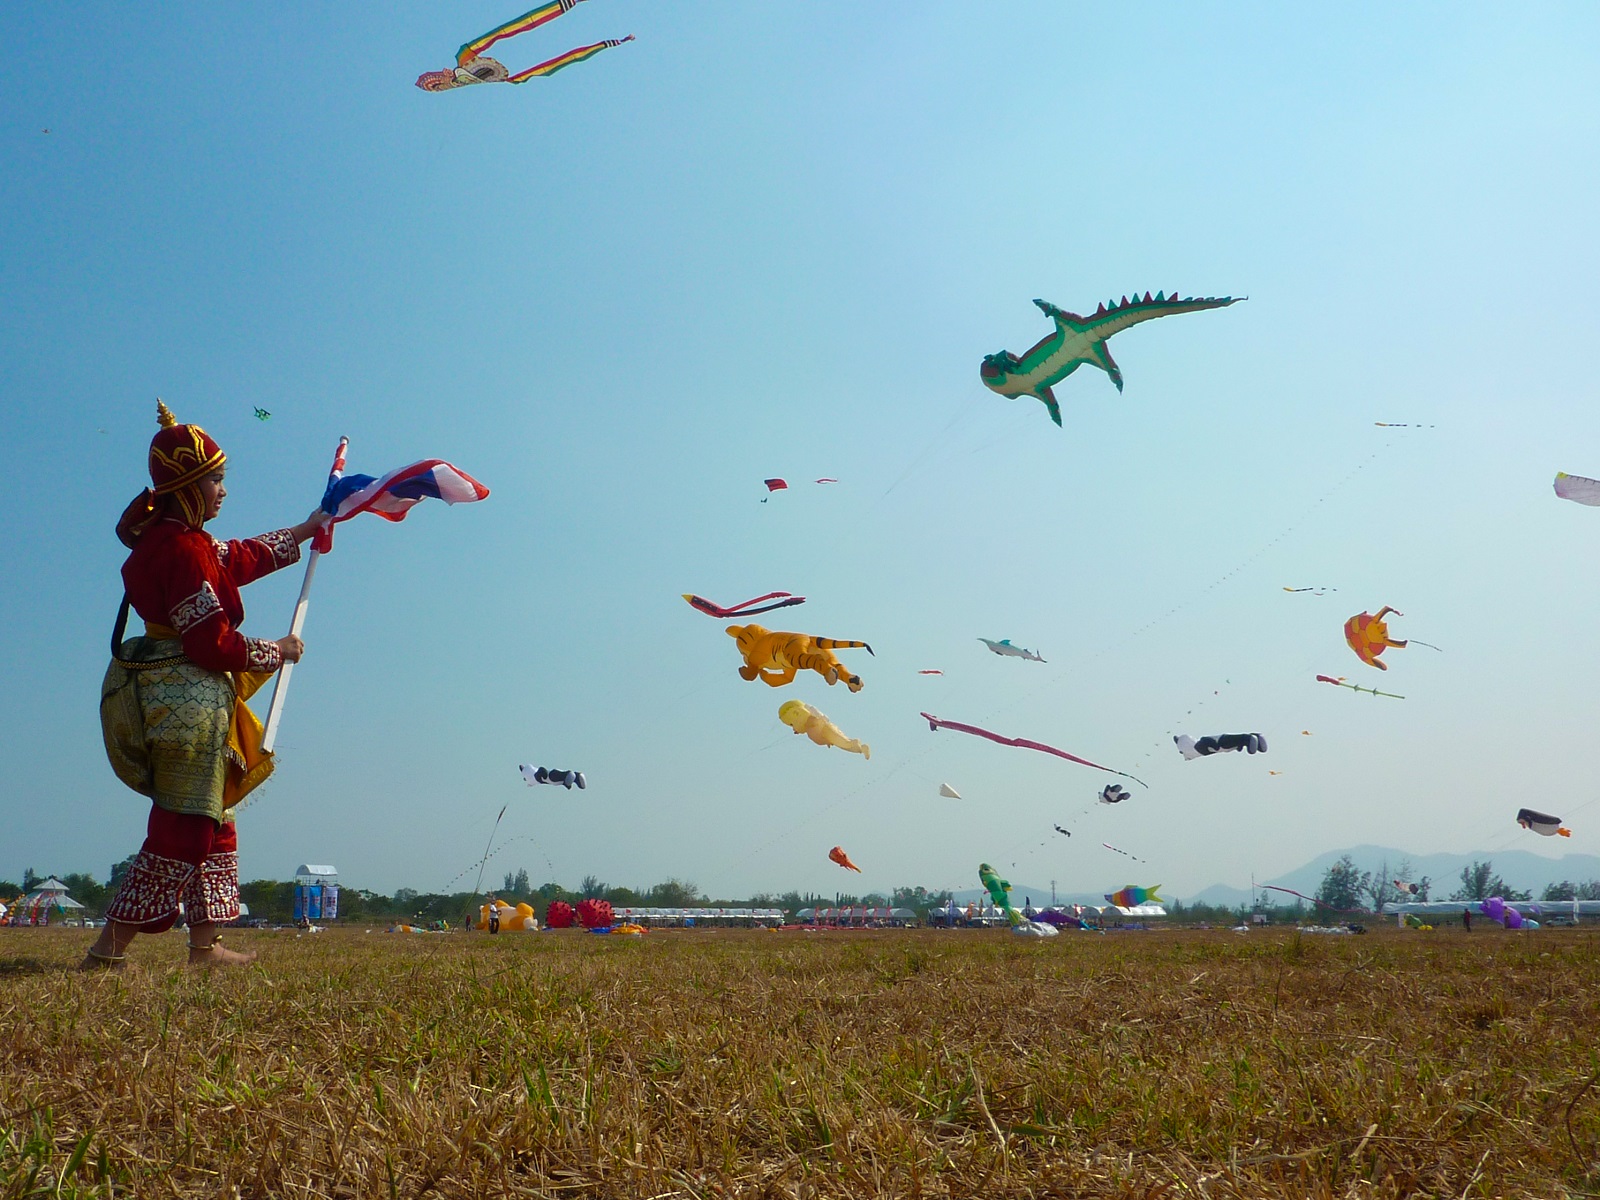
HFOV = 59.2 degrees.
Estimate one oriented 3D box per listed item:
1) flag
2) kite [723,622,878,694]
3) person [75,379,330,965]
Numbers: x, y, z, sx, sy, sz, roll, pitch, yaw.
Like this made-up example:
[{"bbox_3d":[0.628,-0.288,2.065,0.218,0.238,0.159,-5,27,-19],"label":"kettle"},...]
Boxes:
[{"bbox_3d":[-2.617,-0.697,9.167,0.972,1.316,0.310,-6,-48,-7],"label":"flag"},{"bbox_3d":[0.080,0.585,14.556,1.874,0.658,0.816,6,-8,29],"label":"kite"},{"bbox_3d":[-3.416,0.500,7.914,0.972,2.993,1.198,7,-21,-22],"label":"person"}]
